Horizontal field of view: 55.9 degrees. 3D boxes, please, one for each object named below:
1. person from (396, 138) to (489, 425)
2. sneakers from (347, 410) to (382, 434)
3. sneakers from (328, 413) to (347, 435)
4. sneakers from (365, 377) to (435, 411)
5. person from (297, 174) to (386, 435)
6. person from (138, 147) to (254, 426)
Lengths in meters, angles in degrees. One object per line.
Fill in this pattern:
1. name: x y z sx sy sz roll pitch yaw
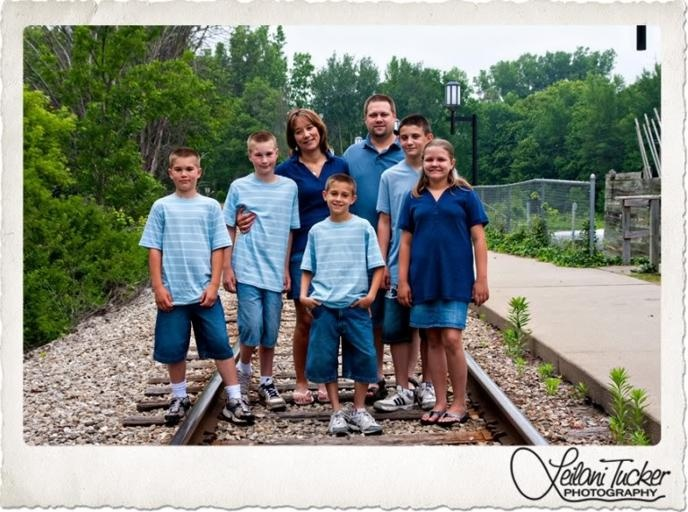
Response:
1. person: 0.766 0.194 5.096 0.710 2.229 0.417 0 5 12
2. sneakers: 0.147 1.275 4.998 0.125 0.116 0.291 3 -5 -41
3. sneakers: -0.042 1.278 4.972 0.154 0.151 0.173 -2 5 0
4. sneakers: 0.461 1.177 5.472 0.578 0.241 0.204 1 -8 -16
5. person: -0.023 0.356 5.053 0.666 1.987 0.536 -2 5 0
6. person: -1.213 0.236 5.154 0.759 2.182 0.461 -3 5 -11
